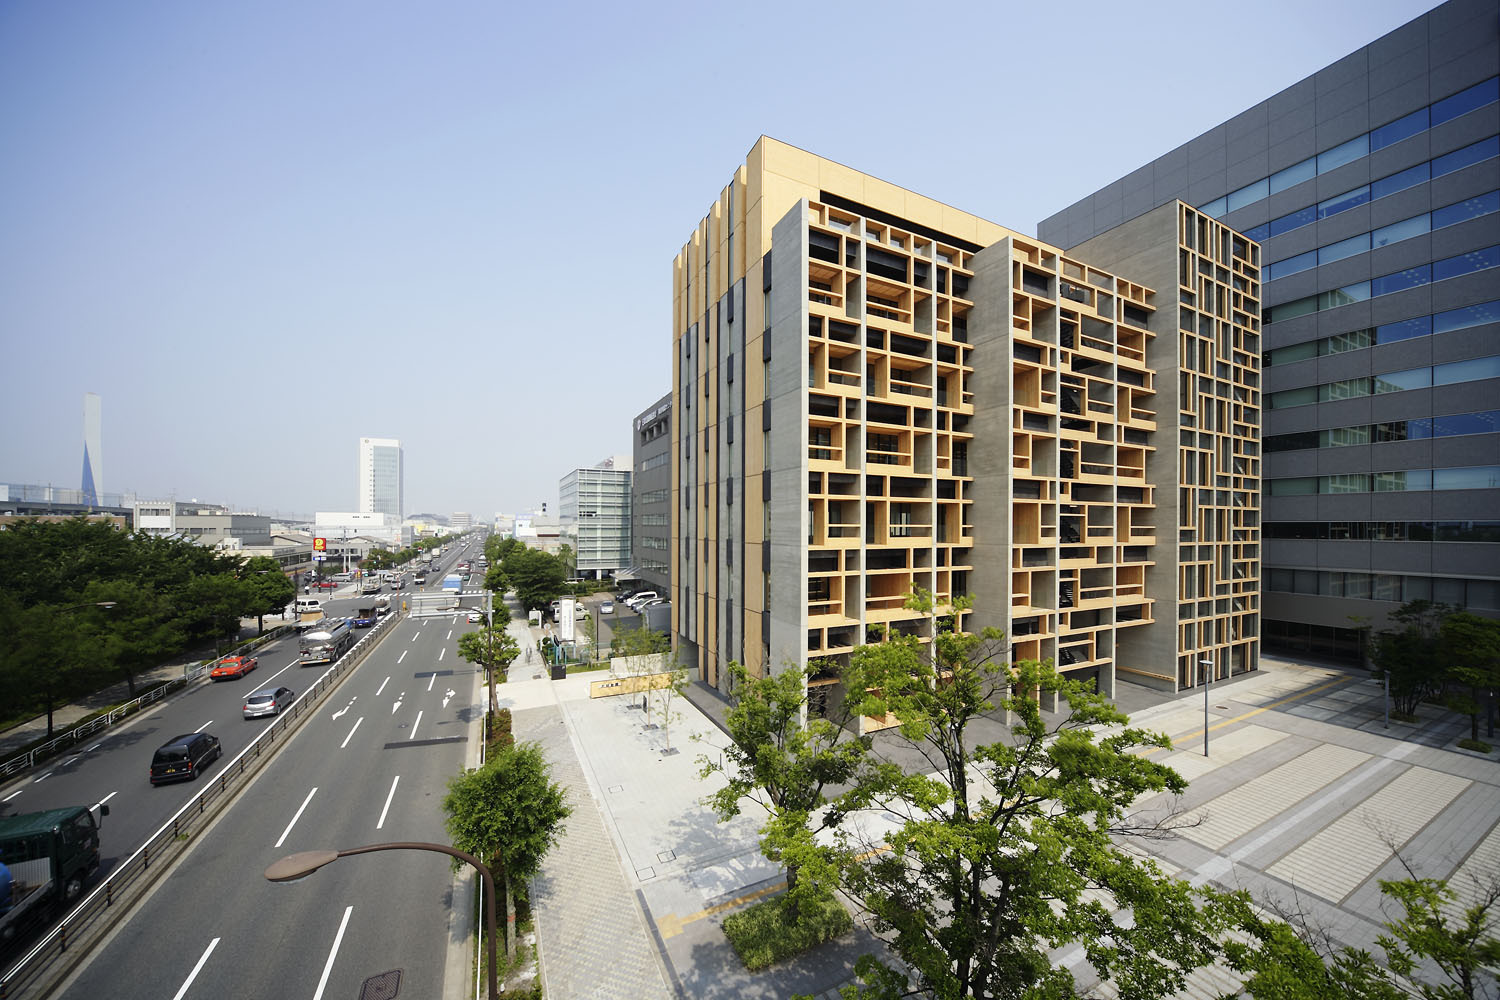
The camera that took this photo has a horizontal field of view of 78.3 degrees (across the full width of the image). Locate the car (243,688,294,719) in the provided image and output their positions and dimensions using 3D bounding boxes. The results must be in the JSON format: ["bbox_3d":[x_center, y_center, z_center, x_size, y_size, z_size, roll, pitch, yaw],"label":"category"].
[{"bbox_3d":[-36.276,15.207,68.799,1.860,1.964,2.853,-2,-2,29],"label":"car"}]

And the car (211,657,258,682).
[{"bbox_3d":[-43.781,14.156,77.450,2.565,1.791,3.432,-1,-2,-11],"label":"car"}]

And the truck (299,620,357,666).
[{"bbox_3d":[-37.845,12.641,81.902,2.367,3.436,5.582,-2,-2,0],"label":"truck"}]
